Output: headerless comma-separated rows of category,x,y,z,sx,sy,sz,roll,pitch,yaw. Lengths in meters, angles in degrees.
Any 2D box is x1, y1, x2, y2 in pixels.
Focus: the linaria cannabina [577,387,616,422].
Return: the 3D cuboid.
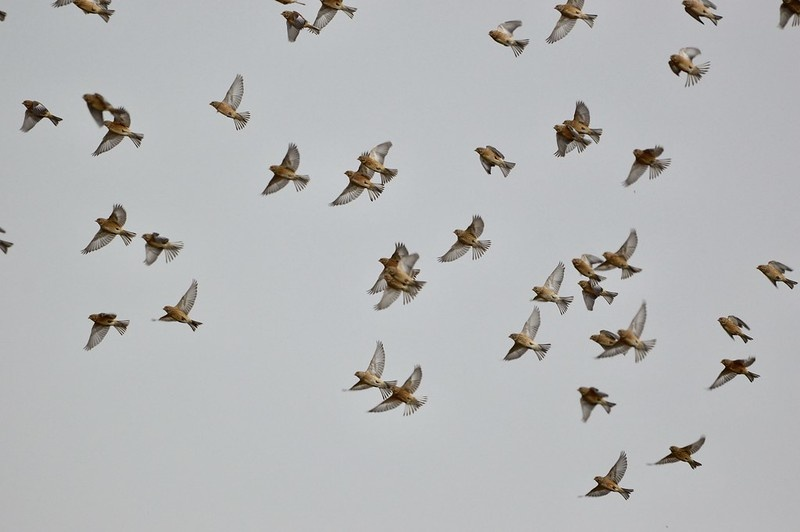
linaria cannabina,2.025,1.347,15.139,0.347,0.405,0.223,-1,-59,-2
